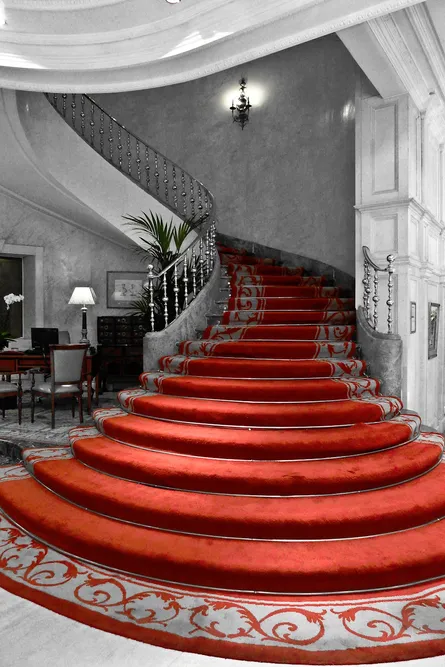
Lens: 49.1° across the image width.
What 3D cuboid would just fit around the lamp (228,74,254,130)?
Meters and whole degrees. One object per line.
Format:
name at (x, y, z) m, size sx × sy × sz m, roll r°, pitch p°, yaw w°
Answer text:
lamp at (0.188, -3.421, 7.132) m, size 0.450 × 0.687 × 0.393 m, roll -1°, pitch 0°, yaw 28°

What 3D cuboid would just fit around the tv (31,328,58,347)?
tv at (-2.158, 0.055, 5.939) m, size 0.202 × 0.212 × 0.072 m, roll 2°, pitch 4°, yaw -4°

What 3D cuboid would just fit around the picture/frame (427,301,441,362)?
picture/frame at (2.117, -0.032, 5.003) m, size 0.037 × 0.725 × 0.608 m, roll 1°, pitch 5°, yaw 27°

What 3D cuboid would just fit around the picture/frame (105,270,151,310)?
picture/frame at (-1.545, -0.674, 7.698) m, size 0.803 × 0.792 × 0.088 m, roll 2°, pitch -6°, yaw -9°

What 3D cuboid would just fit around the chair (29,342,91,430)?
chair at (-1.668, 0.516, 4.995) m, size 0.525 × 0.844 × 0.724 m, roll -1°, pitch 0°, yaw -27°

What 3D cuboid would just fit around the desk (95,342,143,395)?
desk at (-1.510, 0.544, 7.213) m, size 0.756 × 0.723 × 0.288 m, roll 1°, pitch -11°, yaw -36°
